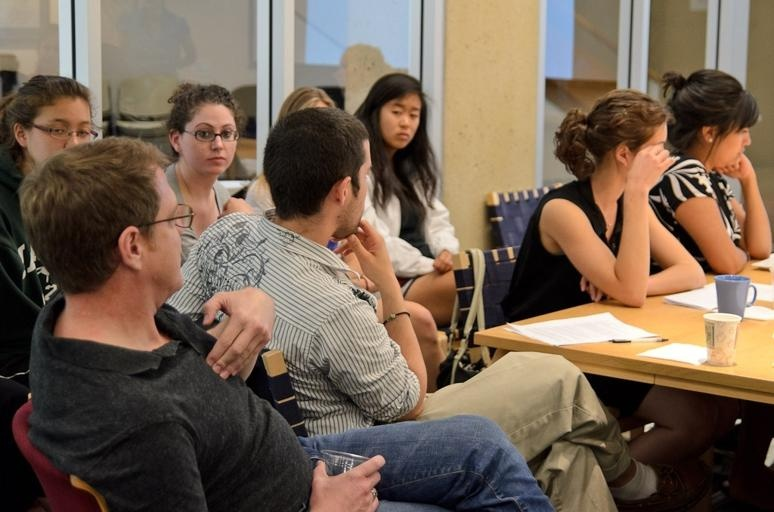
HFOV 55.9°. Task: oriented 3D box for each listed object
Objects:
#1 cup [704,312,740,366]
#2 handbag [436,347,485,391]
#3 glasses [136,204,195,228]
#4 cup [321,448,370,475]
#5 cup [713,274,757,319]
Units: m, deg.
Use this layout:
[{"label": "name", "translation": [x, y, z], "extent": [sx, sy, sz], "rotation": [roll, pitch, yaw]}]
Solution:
[{"label": "cup", "translation": [1.099, 0.281, 2.401], "extent": [0.120, 0.158, 0.126], "rotation": [-1, 4, 0]}, {"label": "handbag", "translation": [0.312, 0.483, 3.049], "extent": [0.134, 0.193, 0.083], "rotation": [13, 3, -41]}, {"label": "glasses", "translation": [-0.550, -0.095, 1.859], "extent": [0.075, 0.024, 0.076], "rotation": [-9, 9, 11]}, {"label": "cup", "translation": [-0.128, 0.593, 2.097], "extent": [0.076, 0.036, 0.080], "rotation": [14, -11, 3]}, {"label": "cup", "translation": [1.384, 0.155, 2.826], "extent": [0.118, 0.121, 0.081], "rotation": [6, -1, -20]}]
